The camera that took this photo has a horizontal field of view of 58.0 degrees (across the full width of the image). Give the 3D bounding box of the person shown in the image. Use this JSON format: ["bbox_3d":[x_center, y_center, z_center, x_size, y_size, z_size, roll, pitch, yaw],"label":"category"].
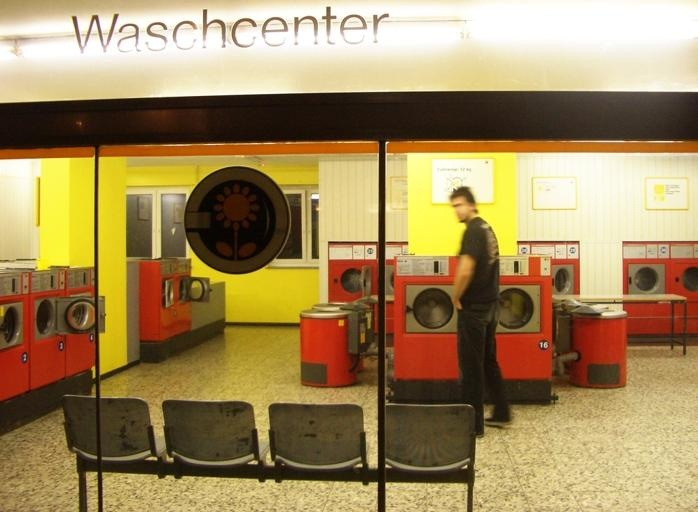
[{"bbox_3d":[1.050,0.452,5.213,0.418,2.023,0.610,3,8,33],"label":"person"}]

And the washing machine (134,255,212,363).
[{"bbox_3d":[-2.463,0.591,8.223,0.968,1.322,1.347,-1,0,3],"label":"washing machine"}]

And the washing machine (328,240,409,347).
[{"bbox_3d":[0.228,0.436,7.102,1.297,1.278,0.619,0,-3,11],"label":"washing machine"}]

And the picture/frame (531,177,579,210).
[{"bbox_3d":[3.031,-0.944,9.175,0.468,0.352,0.016,0,-1,3],"label":"picture/frame"}]

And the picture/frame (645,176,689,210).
[{"bbox_3d":[4.586,-0.941,9.061,0.477,0.369,0.017,0,-1,0],"label":"picture/frame"}]
